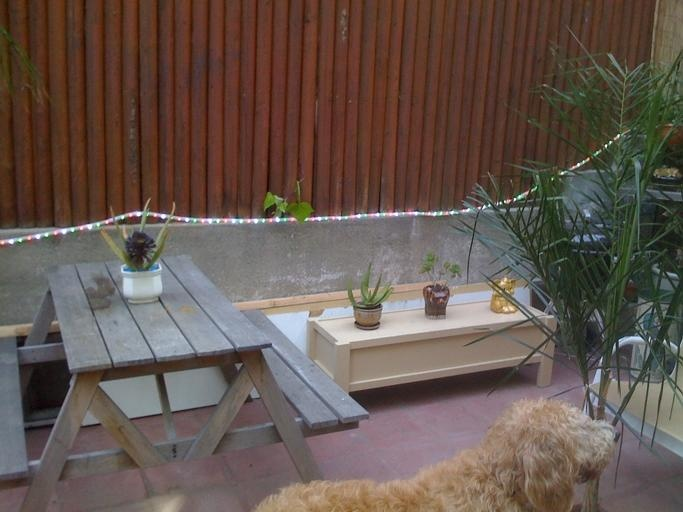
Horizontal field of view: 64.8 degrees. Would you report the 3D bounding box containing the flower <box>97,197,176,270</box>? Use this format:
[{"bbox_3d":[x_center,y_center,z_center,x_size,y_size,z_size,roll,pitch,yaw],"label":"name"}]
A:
[{"bbox_3d":[-1.039,-0.097,2.680,0.257,0.336,0.283,-4,-9,-10],"label":"flower"}]

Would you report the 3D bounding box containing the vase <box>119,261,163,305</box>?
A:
[{"bbox_3d":[-1.005,0.132,2.715,0.193,0.185,0.203,17,16,41],"label":"vase"}]

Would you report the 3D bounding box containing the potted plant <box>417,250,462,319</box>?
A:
[{"bbox_3d":[0.760,0.214,4.237,0.339,0.648,0.277,2,16,5],"label":"potted plant"}]

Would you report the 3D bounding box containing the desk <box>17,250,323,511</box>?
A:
[{"bbox_3d":[-0.856,0.481,2.746,1.230,0.779,1.363,-10,25,-12],"label":"desk"}]

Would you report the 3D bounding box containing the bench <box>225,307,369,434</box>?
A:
[{"bbox_3d":[-0.177,0.612,2.687,0.269,0.123,1.273,0,26,-23],"label":"bench"}]
